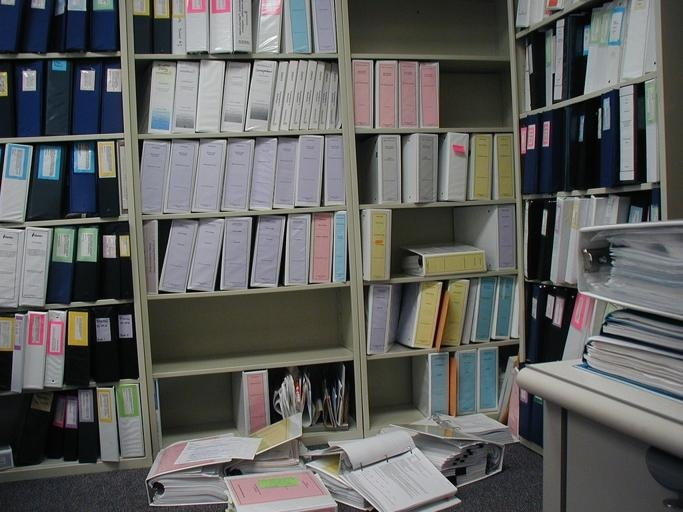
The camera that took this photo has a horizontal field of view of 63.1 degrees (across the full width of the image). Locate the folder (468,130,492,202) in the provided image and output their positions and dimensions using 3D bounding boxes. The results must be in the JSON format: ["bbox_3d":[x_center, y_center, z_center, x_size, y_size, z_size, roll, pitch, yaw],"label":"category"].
[{"bbox_3d":[0.721,-0.478,2.912,0.112,0.330,0.306,0,11,3],"label":"folder"}]

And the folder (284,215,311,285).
[{"bbox_3d":[-0.223,-0.040,2.796,0.116,0.344,0.320,2,3,-4],"label":"folder"}]

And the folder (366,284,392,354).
[{"bbox_3d":[0.188,0.321,2.851,0.112,0.310,0.322,2,5,2],"label":"folder"}]

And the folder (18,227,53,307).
[{"bbox_3d":[-1.432,0.043,2.591,0.124,0.362,0.323,5,4,-13],"label":"folder"}]

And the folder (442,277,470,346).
[{"bbox_3d":[0.598,0.281,2.928,0.157,0.284,0.294,2,15,0],"label":"folder"}]

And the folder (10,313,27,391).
[{"bbox_3d":[-1.508,0.454,2.598,0.076,0.360,0.031,-1,3,-2],"label":"folder"}]

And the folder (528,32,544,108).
[{"bbox_3d":[0.981,-0.933,2.810,0.059,0.302,0.096,-3,23,31],"label":"folder"}]

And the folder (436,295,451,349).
[{"bbox_3d":[0.528,0.335,2.895,0.031,0.299,0.270,8,-1,7],"label":"folder"}]

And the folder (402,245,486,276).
[{"bbox_3d":[0.569,0.021,3.037,0.419,0.147,0.321,-2,4,-15],"label":"folder"}]

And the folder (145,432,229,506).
[{"bbox_3d":[-0.696,0.984,2.528,0.337,0.188,0.365,-2,3,-13],"label":"folder"}]

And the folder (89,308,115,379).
[{"bbox_3d":[-1.140,0.410,2.657,0.108,0.322,0.301,-2,5,-18],"label":"folder"}]

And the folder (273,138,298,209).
[{"bbox_3d":[-0.287,-0.423,2.784,0.126,0.372,0.323,4,2,-2],"label":"folder"}]

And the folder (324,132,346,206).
[{"bbox_3d":[-0.034,-0.457,2.807,0.118,0.340,0.317,-1,8,-2],"label":"folder"}]

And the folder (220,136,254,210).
[{"bbox_3d":[-0.520,-0.414,2.741,0.124,0.364,0.336,6,1,-5],"label":"folder"}]

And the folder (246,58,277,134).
[{"bbox_3d":[-0.399,-0.795,2.745,0.135,0.383,0.323,7,5,-4],"label":"folder"}]

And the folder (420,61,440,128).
[{"bbox_3d":[0.452,-0.832,2.875,0.119,0.353,0.320,-1,6,3],"label":"folder"}]

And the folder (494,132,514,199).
[{"bbox_3d":[0.856,-0.472,2.933,0.108,0.335,0.034,-2,3,-15],"label":"folder"}]

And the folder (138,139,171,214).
[{"bbox_3d":[-0.908,-0.388,2.693,0.117,0.324,0.336,3,2,-9],"label":"folder"}]

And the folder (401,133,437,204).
[{"bbox_3d":[0.397,-0.444,2.854,0.180,0.352,0.111,0,3,12],"label":"folder"}]

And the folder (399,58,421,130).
[{"bbox_3d":[0.347,-0.844,2.857,0.115,0.323,0.335,0,4,0],"label":"folder"}]

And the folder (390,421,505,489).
[{"bbox_3d":[0.510,0.896,2.590,0.248,0.114,0.310,-2,10,-28],"label":"folder"}]

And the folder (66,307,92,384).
[{"bbox_3d":[-1.247,0.428,2.631,0.124,0.337,0.334,0,-5,-13],"label":"folder"}]

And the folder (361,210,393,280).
[{"bbox_3d":[0.187,-0.057,2.844,0.163,0.364,0.125,-2,3,-14],"label":"folder"}]

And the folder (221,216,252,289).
[{"bbox_3d":[-0.524,-0.023,2.745,0.130,0.383,0.332,4,2,-6],"label":"folder"}]

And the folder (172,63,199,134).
[{"bbox_3d":[-0.766,-0.779,2.705,0.115,0.343,0.310,5,2,-11],"label":"folder"}]

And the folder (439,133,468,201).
[{"bbox_3d":[0.581,-0.460,2.902,0.149,0.354,0.083,-1,3,8],"label":"folder"}]

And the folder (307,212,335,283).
[{"bbox_3d":[-0.108,-0.055,2.813,0.113,0.338,0.320,2,5,-3],"label":"folder"}]

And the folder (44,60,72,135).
[{"bbox_3d":[-1.329,-0.746,2.598,0.116,0.345,0.312,3,4,-15],"label":"folder"}]

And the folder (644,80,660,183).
[{"bbox_3d":[1.221,-0.490,2.193,0.034,0.404,0.087,-1,3,-4],"label":"folder"}]

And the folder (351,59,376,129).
[{"bbox_3d":[0.106,-0.828,2.811,0.104,0.316,0.318,-1,7,-2],"label":"folder"}]

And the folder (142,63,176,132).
[{"bbox_3d":[-0.882,-0.768,2.707,0.108,0.311,0.282,4,9,-13],"label":"folder"}]

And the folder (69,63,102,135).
[{"bbox_3d":[-1.215,-0.749,2.626,0.098,0.321,0.302,4,4,-11],"label":"folder"}]

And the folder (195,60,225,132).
[{"bbox_3d":[-0.649,-0.791,2.716,0.119,0.353,0.321,4,2,-7],"label":"folder"}]

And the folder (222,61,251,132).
[{"bbox_3d":[-0.523,-0.788,2.735,0.115,0.343,0.311,5,3,-4],"label":"folder"}]

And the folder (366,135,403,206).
[{"bbox_3d":[0.230,-0.441,2.859,0.119,0.328,0.341,-1,7,-7],"label":"folder"}]

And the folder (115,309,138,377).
[{"bbox_3d":[-1.038,0.406,2.681,0.104,0.287,0.295,-4,5,-17],"label":"folder"}]

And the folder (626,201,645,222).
[{"bbox_3d":[1.243,-0.189,2.342,0.044,0.083,0.106,-1,3,3],"label":"folder"}]

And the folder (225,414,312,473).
[{"bbox_3d":[-0.352,0.883,2.582,0.263,0.086,0.199,-7,19,1],"label":"folder"}]

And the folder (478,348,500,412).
[{"bbox_3d":[0.784,0.664,2.982,0.106,0.324,0.333,1,-2,3],"label":"folder"}]

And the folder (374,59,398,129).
[{"bbox_3d":[0.223,-0.839,2.836,0.116,0.341,0.308,-1,7,-1],"label":"folder"}]

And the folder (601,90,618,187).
[{"bbox_3d":[1.136,-0.493,2.361,0.032,0.391,0.085,-2,3,-18],"label":"folder"}]

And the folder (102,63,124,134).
[{"bbox_3d":[-1.082,-0.764,2.635,0.087,0.273,0.276,0,-13,-9],"label":"folder"}]

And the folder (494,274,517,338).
[{"bbox_3d":[0.873,0.256,2.975,0.103,0.309,0.288,5,8,6],"label":"folder"}]

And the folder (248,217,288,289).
[{"bbox_3d":[-0.371,-0.017,2.777,0.122,0.355,0.312,7,5,-3],"label":"folder"}]
